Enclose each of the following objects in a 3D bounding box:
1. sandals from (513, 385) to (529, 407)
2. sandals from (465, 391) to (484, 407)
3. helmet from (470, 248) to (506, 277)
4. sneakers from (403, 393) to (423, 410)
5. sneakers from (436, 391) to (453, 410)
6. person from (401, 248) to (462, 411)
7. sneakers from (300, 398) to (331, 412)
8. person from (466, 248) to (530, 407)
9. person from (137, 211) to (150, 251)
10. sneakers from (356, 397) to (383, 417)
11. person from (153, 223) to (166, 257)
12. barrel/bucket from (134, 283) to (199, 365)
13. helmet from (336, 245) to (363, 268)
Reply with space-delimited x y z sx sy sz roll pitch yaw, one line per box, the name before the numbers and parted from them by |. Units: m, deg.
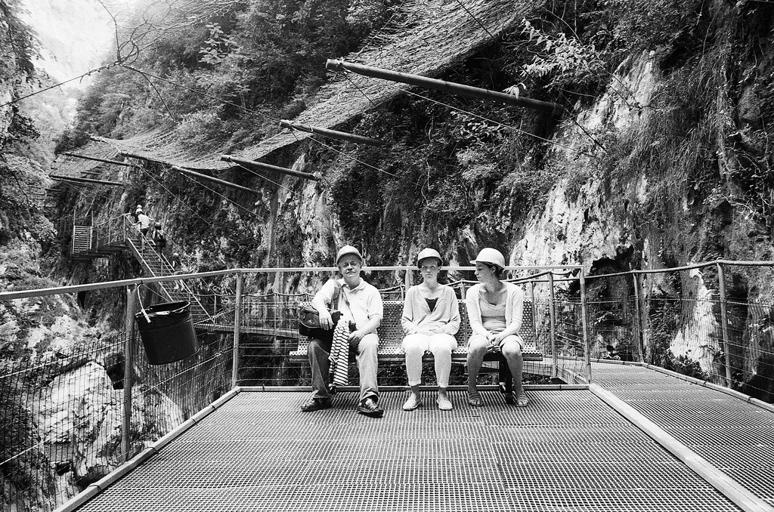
sandals | 1.752 1.776 7.408 0.189 0.239 0.160 -1 8 -1
sandals | 1.156 1.835 7.482 0.210 0.135 0.268 0 9 7
helmet | 1.408 0.051 7.682 0.458 0.280 0.371 24 -2 -3
sneakers | 0.331 1.874 7.415 0.118 0.141 0.327 -7 -16 18
sneakers | 0.746 1.819 7.416 0.216 0.189 0.354 0 9 5
person | 0.577 0.918 7.594 0.783 1.975 0.909 0 8 6
sneakers | -0.916 1.903 7.477 0.362 0.193 0.153 5 -5 -16
person | 1.446 0.896 7.542 0.792 1.956 0.672 0 8 9
person | -10.829 -1.127 25.643 0.481 1.436 0.872 -5 9 -24
sneakers | -0.208 1.880 7.231 0.164 0.173 0.335 3 -4 -44
person | -10.733 -0.812 27.156 0.536 1.340 2.307 -4 9 -21
barrel/bucket | -2.573 0.777 6.697 0.646 0.939 0.404 -5 9 -23
helmet | -0.531 -0.049 8.095 0.341 0.316 0.515 -2 -38 -1
